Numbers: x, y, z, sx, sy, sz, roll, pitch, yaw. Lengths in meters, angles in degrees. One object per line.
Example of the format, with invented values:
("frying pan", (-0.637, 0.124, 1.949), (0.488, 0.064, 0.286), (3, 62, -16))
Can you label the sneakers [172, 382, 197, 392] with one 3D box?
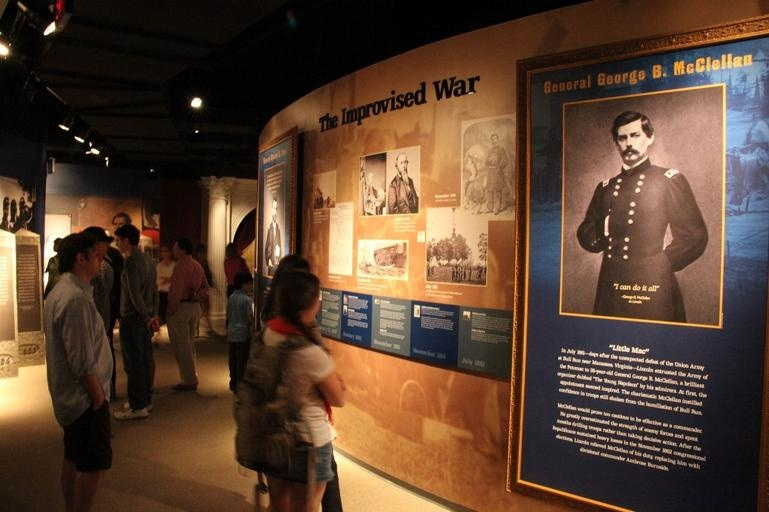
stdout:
("sneakers", (-2.746, 1.794, 7.612), (0.330, 0.141, 0.122), (6, -3, -4))

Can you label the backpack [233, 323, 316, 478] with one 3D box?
("backpack", (-0.743, 0.986, 3.783), (0.557, 0.963, 0.246), (-1, 8, -9))

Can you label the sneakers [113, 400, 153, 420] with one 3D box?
("sneakers", (-3.058, 1.852, 6.772), (0.512, 0.221, 0.189), (5, 2, -10))
